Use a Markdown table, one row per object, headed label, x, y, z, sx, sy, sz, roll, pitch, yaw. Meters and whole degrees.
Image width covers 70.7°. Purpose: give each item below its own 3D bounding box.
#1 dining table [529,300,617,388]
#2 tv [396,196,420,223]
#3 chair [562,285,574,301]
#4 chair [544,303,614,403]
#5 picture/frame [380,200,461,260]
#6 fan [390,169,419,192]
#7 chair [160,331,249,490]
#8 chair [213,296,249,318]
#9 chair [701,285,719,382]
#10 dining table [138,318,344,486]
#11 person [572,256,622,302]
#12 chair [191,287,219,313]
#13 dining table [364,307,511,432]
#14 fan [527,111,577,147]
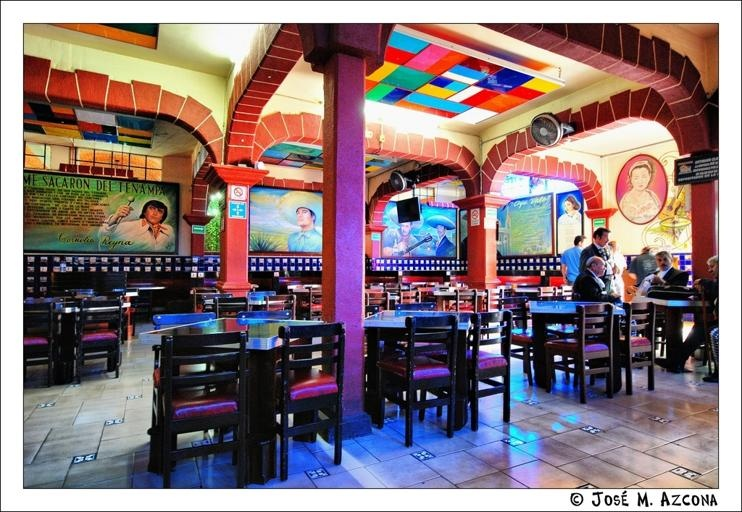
| label | x | y | z | sx | sy | sz | roll | pitch | yaw |
| --- | --- | --- | --- | --- | --- | --- | --- | --- | --- |
| dining table | 2.735 | 1.231 | 7.157 | 1.205 | 1.048 | 1.224 | 0 | 0 | 43 |
| tv | 1.034 | -1.237 | 14.030 | 0.270 | 0.637 | 1.109 | -1 | -3 | -18 |
| chair | 3.676 | 0.704 | 9.766 | 0.184 | 0.308 | 0.322 | 1 | 5 | -8 |
| chair | 2.746 | 1.235 | 6.885 | 0.777 | 1.100 | 0.799 | 5 | -7 | -43 |
| picture/frame | 1.637 | -0.844 | 17.169 | 3.387 | 1.904 | 0.055 | 0 | 3 | -38 |
| fan | 0.839 | -1.932 | 13.060 | 0.882 | 0.344 | 0.632 | -12 | -21 | 8 |
| chair | -1.652 | 1.460 | 5.127 | 0.807 | 1.449 | 0.897 | -1 | -3 | -22 |
| chair | -1.930 | 0.722 | 7.387 | 0.374 | 0.470 | 0.361 | 0 | 4 | -32 |
| chair | 4.719 | 1.031 | 7.270 | 0.225 | 1.386 | 0.467 | -4 | -3 | 33 |
| dining table | -1.176 | 1.401 | 5.057 | 1.535 | 1.088 | 1.843 | 1 | 0 | -21 |
| person | 3.273 | 0.351 | 7.666 | 0.550 | 0.670 | 0.670 | -4 | -3 | 33 |
| chair | -2.704 | 0.709 | 8.488 | 0.495 | 0.480 | 0.737 | -1 | -1 | -20 |
| dining table | 0.693 | 1.314 | 6.318 | 1.285 | 0.978 | 1.573 | 0 | -7 | -5 |
| fan | 3.593 | -2.513 | 9.912 | 1.175 | 0.649 | 0.626 | -30 | 36 | -33 |
